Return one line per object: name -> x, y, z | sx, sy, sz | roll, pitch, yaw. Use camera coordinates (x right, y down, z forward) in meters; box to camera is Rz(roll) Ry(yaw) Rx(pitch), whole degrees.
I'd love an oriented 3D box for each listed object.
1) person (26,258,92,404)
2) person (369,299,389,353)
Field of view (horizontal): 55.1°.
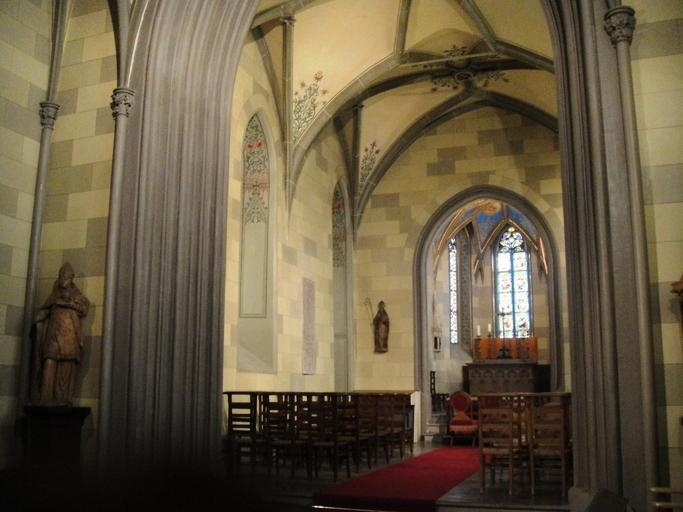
person -> -3.028, 0.834, 7.041 | 0.564, 1.525, 0.341 | 4, -14, -20
person -> 0.873, 1.551, 14.188 | 0.385, 1.115, 0.192 | -3, -13, 8
